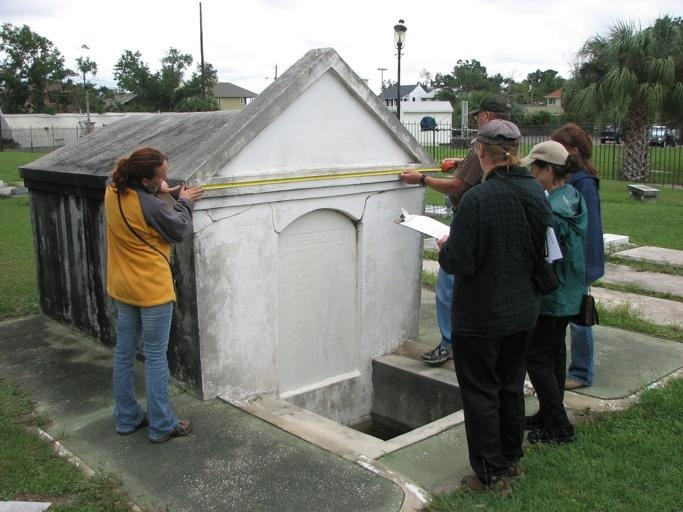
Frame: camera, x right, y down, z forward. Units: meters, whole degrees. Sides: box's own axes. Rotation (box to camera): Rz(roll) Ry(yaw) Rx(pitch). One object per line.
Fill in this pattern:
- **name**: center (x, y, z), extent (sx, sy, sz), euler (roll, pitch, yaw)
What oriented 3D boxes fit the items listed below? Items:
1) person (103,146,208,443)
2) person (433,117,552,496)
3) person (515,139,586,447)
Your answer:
- **person**: center (-1.524, 0.279, 4.539), extent (0.980, 2.034, 0.728), euler (0, 1, -39)
- **person**: center (0.929, 0.340, 3.964), extent (0.732, 2.690, 0.672), euler (-3, 5, -30)
- **person**: center (1.705, 0.321, 4.595), extent (0.664, 2.418, 0.649), euler (0, 12, 17)
